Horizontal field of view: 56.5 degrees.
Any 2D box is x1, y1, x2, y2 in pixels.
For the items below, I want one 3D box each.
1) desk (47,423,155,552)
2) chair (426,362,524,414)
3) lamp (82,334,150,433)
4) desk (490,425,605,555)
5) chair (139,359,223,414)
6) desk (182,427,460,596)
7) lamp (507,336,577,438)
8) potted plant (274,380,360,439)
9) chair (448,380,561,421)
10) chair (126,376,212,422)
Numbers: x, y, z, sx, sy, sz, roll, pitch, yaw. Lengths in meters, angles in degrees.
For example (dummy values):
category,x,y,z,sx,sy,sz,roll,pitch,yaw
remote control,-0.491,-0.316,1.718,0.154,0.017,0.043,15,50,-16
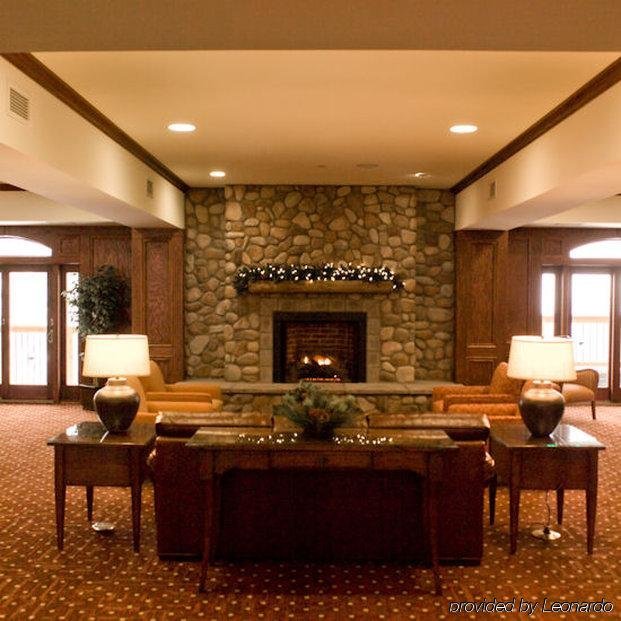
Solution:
category,x,y,z,sx,sy,sz,roll,pitch,yaw
desk,-1.219,1.075,3.896,0.810,0.672,0.932,2,-3,-1
chair,1.657,0.888,5.790,0.891,0.584,0.740,-2,3,18
lamp,-1.335,0.483,3.950,0.412,0.649,0.378,2,-3,-19
desk,1.441,1.035,3.892,0.795,0.662,1.045,0,1,3
chair,-1.277,0.763,5.572,0.685,0.514,0.615,1,1,0
desk,0.050,1.071,3.150,1.419,0.668,0.454,1,-14,-1
lamp,1.618,0.512,4.083,0.418,0.664,0.645,0,-3,17
potted plant,0.019,0.553,3.274,0.396,0.221,0.400,9,5,39
chair,1.682,0.841,5.235,0.830,0.607,0.650,1,-5,3
chair,-1.242,0.775,5.097,0.595,0.458,0.465,1,1,-2
